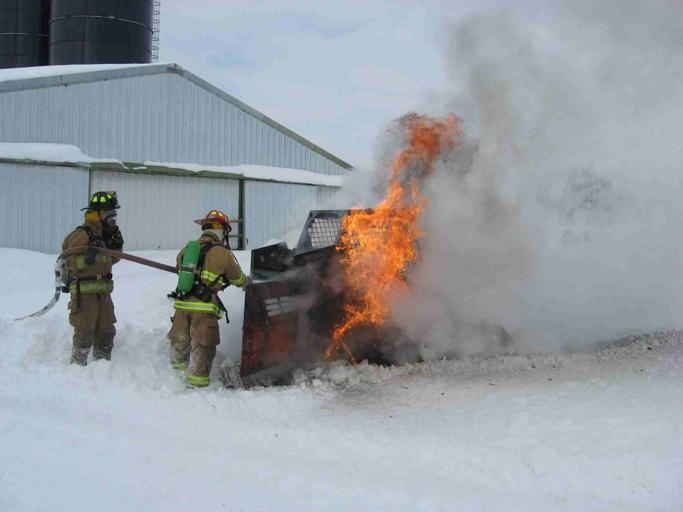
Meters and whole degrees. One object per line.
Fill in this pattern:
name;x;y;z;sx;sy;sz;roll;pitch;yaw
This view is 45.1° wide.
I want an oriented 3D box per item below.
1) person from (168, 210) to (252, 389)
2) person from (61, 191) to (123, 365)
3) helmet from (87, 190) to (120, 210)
person;-2.192;0.664;13.323;1.195;2.740;0.799;3;5;3
person;-4.006;0.346;13.289;0.919;2.715;0.665;-2;7;-42
helmet;-3.860;-0.882;13.591;0.381;0.360;0.576;1;-2;1
